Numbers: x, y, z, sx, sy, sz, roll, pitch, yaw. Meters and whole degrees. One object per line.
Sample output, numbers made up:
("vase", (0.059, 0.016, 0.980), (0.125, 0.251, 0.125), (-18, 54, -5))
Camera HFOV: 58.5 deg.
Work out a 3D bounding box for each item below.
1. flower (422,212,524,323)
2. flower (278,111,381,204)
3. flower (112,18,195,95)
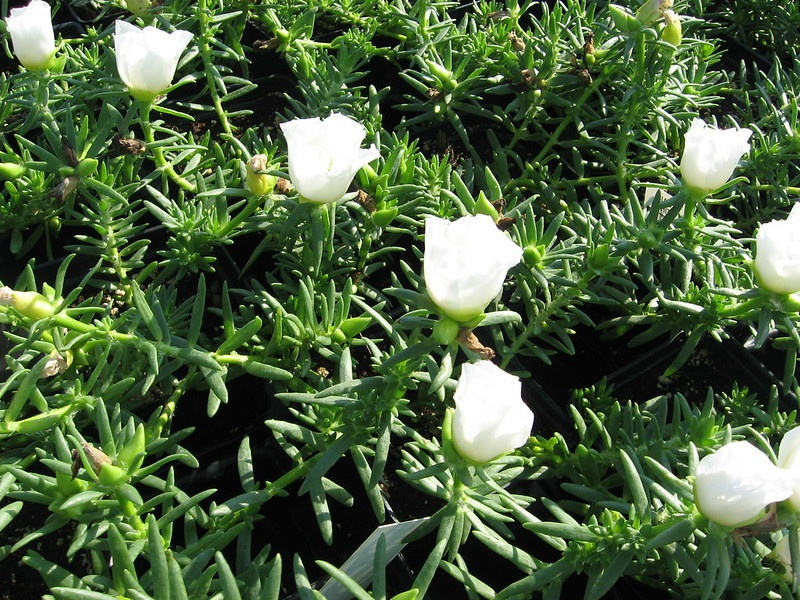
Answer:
("flower", (0.109, -0.071, 1.265), (0.153, 0.172, 0.174), (-14, 52, -24))
("flower", (-0.151, -0.280, 1.427), (0.173, 0.151, 0.164), (-20, 67, -38))
("flower", (-0.521, -0.492, 1.523), (0.142, 0.138, 0.153), (11, 23, -44))
